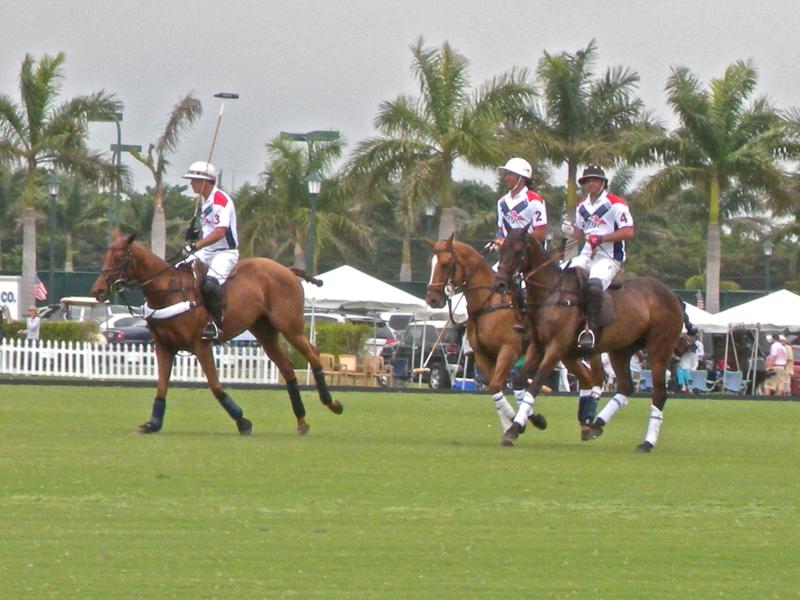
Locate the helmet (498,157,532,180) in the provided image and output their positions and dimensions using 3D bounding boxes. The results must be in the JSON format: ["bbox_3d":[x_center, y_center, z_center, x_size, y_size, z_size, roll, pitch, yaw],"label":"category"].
[{"bbox_3d":[1.805,-2.005,25.132,0.547,0.200,0.407,15,4,-11],"label":"helmet"}]

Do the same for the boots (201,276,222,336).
[{"bbox_3d":[-2.812,0.099,24.534,0.267,0.938,0.232,3,6,17],"label":"boots"}]

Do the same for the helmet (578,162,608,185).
[{"bbox_3d":[2.841,-1.868,24.589,0.431,0.308,0.687,2,5,6],"label":"helmet"}]

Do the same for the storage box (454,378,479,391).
[{"bbox_3d":[1.519,1.935,38.847,0.396,0.208,0.366,1,-6,-7],"label":"storage box"}]

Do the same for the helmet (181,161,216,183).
[{"bbox_3d":[-2.944,-1.917,24.887,0.460,0.280,0.314,-2,6,-26],"label":"helmet"}]

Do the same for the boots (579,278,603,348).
[{"bbox_3d":[2.722,0.154,23.874,0.265,0.961,0.328,4,6,19],"label":"boots"}]

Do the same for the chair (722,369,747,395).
[{"bbox_3d":[7.993,1.922,40.090,0.601,0.698,0.576,2,-3,1],"label":"chair"}]

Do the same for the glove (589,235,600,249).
[{"bbox_3d":[2.859,-0.887,24.635,0.187,0.153,0.166,1,-8,6],"label":"glove"}]

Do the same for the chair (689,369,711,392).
[{"bbox_3d":[7.120,1.875,39.648,0.531,0.519,0.514,4,6,18],"label":"chair"}]

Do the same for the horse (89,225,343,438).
[{"bbox_3d":[-3.389,0.366,25.118,2.881,3.237,3.150,-1,4,28],"label":"horse"}]

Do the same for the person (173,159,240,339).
[{"bbox_3d":[-2.782,-0.735,25.109,1.067,2.393,1.050,3,-4,9],"label":"person"}]

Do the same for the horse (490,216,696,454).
[{"bbox_3d":[2.770,0.671,24.467,4.149,2.929,1.109,9,-3,-38],"label":"horse"}]
